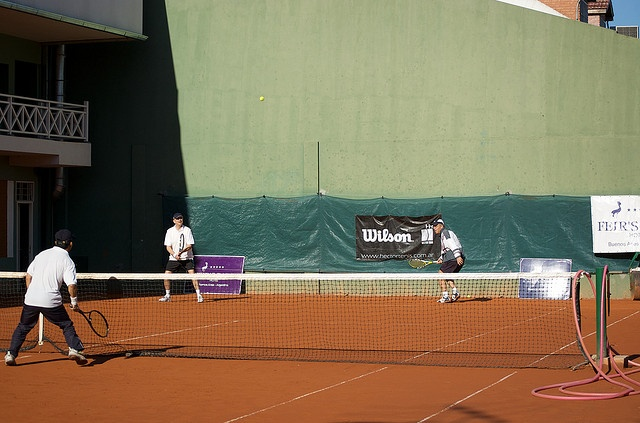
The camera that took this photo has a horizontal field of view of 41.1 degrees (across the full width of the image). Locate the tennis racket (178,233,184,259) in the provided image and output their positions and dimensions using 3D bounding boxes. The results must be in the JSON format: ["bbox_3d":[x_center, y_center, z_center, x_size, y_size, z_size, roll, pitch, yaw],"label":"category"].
[{"bbox_3d":[-3.809,0.924,23.430,0.147,0.558,0.386,-1,9,-6],"label":"tennis racket"}]

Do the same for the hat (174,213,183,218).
[{"bbox_3d":[-3.944,0.132,23.694,0.228,0.113,0.363,-1,-1,-14],"label":"hat"}]

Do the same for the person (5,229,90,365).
[{"bbox_3d":[-5.480,1.784,17.315,1.469,2.734,0.655,0,9,1],"label":"person"}]

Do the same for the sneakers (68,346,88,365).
[{"bbox_3d":[-4.894,2.942,17.356,0.204,0.250,0.542,-18,-35,14],"label":"sneakers"}]

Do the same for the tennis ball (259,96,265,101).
[{"bbox_3d":[-1.775,-3.487,26.169,0.181,0.137,0.048,9,7,5],"label":"tennis ball"}]

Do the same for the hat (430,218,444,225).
[{"bbox_3d":[3.228,0.290,23.606,0.215,0.122,0.333,2,-2,-26],"label":"hat"}]

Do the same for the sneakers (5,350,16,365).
[{"bbox_3d":[-6.300,3.018,17.377,0.150,0.184,0.387,1,-8,-11],"label":"sneakers"}]
